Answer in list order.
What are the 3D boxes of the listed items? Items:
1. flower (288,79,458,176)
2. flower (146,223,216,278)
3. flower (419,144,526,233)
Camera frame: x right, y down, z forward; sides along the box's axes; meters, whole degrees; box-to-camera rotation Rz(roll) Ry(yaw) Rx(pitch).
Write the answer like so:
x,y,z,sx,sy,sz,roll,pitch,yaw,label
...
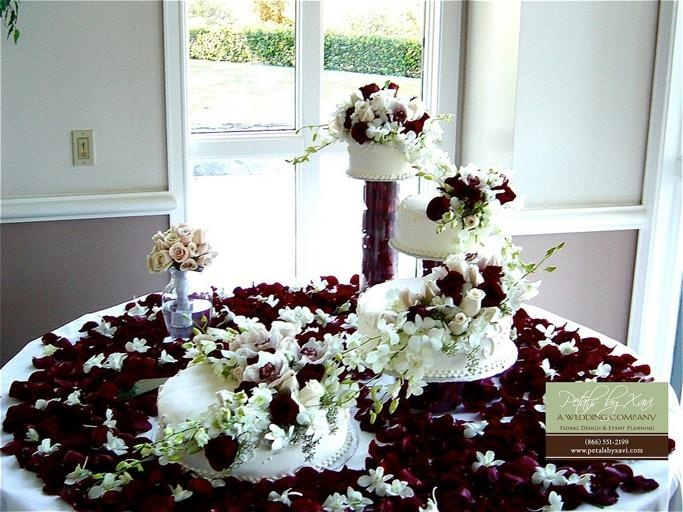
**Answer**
x,y,z,sx,sy,sz,roll,pitch,yaw,label
0.095,-0.399,1.725,0.482,0.208,0.466,-16,25,-31,flower
-0.476,0.006,1.485,0.172,0.115,0.181,-3,11,17,flower
0.400,-0.184,1.390,0.240,0.142,0.320,-11,11,31,flower
